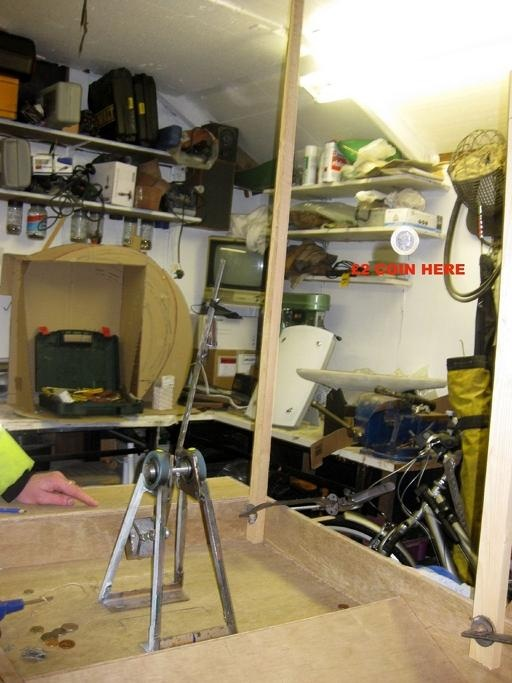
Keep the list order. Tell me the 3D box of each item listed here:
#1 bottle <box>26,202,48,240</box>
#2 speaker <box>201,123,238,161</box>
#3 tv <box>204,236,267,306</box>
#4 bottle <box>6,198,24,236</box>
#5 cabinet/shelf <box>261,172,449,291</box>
[{"bbox_3d":[-1.316,-0.712,3.199,0.121,0.173,0.166,6,-8,-23],"label":"bottle"},{"bbox_3d":[-0.248,-1.294,3.436,0.239,0.211,0.123,1,30,-33],"label":"speaker"},{"bbox_3d":[-0.201,-0.473,3.567,0.484,0.418,0.249,-1,7,-35],"label":"tv"},{"bbox_3d":[-1.432,-0.728,3.154,0.083,0.173,0.161,6,-8,-23],"label":"bottle"},{"bbox_3d":[0.403,-0.558,2.526,0.188,0.613,1.120,6,-8,-23],"label":"cabinet/shelf"}]
